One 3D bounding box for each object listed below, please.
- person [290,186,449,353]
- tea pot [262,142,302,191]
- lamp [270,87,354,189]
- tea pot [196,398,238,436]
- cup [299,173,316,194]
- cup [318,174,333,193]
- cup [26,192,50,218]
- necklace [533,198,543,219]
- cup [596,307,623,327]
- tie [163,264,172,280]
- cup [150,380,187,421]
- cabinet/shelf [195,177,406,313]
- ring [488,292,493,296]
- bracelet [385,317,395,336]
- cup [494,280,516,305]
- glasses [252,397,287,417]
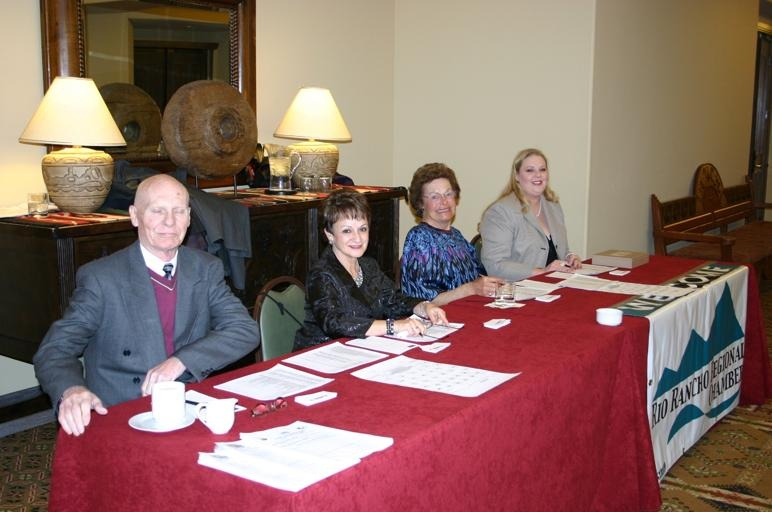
[{"bbox_3d":[-0.131,0.000,3.051,0.875,1.012,0.703,4,15,32],"label":"person"},{"bbox_3d":[-0.860,-0.728,4.563,0.388,0.464,0.333,1,0,0],"label":"tea pot"},{"bbox_3d":[-0.628,-1.060,4.973,0.761,1.006,0.800,6,10,34],"label":"lamp"},{"bbox_3d":[-0.557,0.513,1.765,0.134,0.107,0.093,-3,9,-23],"label":"tea pot"},{"bbox_3d":[-0.652,-0.607,4.434,0.136,0.138,0.141,1,2,0],"label":"cup"},{"bbox_3d":[-0.518,-0.615,4.488,0.123,0.150,0.127,0,1,0],"label":"cup"},{"bbox_3d":[-2.106,-0.314,3.233,0.118,0.143,0.124,1,-1,0],"label":"cup"},{"bbox_3d":[1.211,-0.380,4.278,0.049,0.142,0.099,13,-15,-25],"label":"necklace"},{"bbox_3d":[1.152,0.307,2.762,0.095,0.049,0.095,-1,7,0],"label":"cup"},{"bbox_3d":[-1.003,0.074,2.445,0.064,0.066,0.037,-3,6,-42],"label":"tie"},{"bbox_3d":[-0.701,0.468,1.724,0.094,0.110,0.127,0,-2,-20],"label":"cup"},{"bbox_3d":[-0.630,-0.082,3.483,0.359,0.697,0.945,8,14,36],"label":"cabinet/shelf"},{"bbox_3d":[0.634,0.233,3.269,0.021,0.021,0.006,-1,8,-3],"label":"ring"},{"bbox_3d":[0.016,0.350,2.614,0.042,0.069,0.065,2,7,11],"label":"bracelet"},{"bbox_3d":[0.675,0.203,3.050,0.107,0.129,0.111,0,5,0],"label":"cup"},{"bbox_3d":[-0.422,0.524,1.885,0.132,0.030,0.081,-11,16,-43],"label":"glasses"}]
